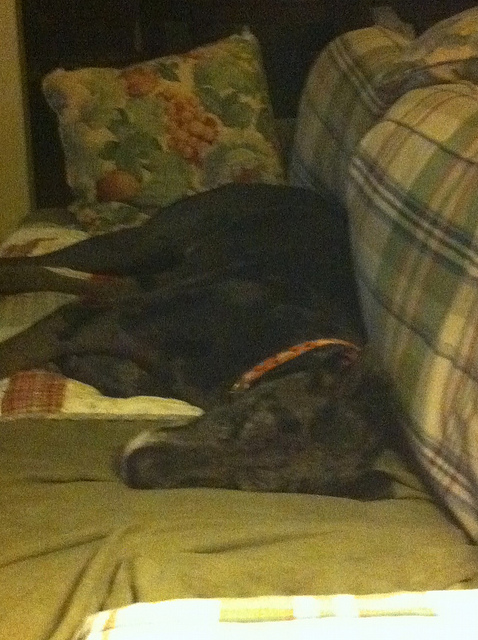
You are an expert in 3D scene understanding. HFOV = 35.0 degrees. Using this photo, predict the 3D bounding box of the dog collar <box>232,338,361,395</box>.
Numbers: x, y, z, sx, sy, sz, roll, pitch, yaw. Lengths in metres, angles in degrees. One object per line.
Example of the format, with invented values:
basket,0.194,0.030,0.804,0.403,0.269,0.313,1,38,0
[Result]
dog collar,0.113,0.116,1.652,0.341,0.016,0.096,-17,40,-3
